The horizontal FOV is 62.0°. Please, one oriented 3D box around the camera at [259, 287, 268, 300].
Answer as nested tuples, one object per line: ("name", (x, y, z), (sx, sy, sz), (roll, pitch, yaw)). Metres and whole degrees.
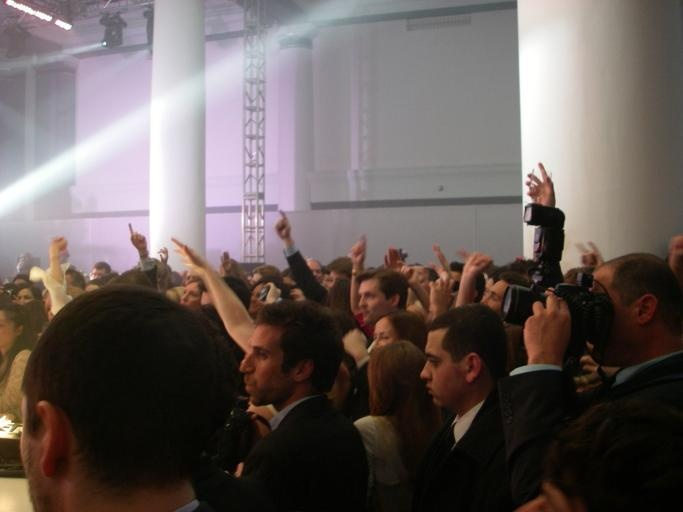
("camera", (-0.471, 0.232, 3.502), (0.055, 0.051, 0.086), (-6, 20, 5))
